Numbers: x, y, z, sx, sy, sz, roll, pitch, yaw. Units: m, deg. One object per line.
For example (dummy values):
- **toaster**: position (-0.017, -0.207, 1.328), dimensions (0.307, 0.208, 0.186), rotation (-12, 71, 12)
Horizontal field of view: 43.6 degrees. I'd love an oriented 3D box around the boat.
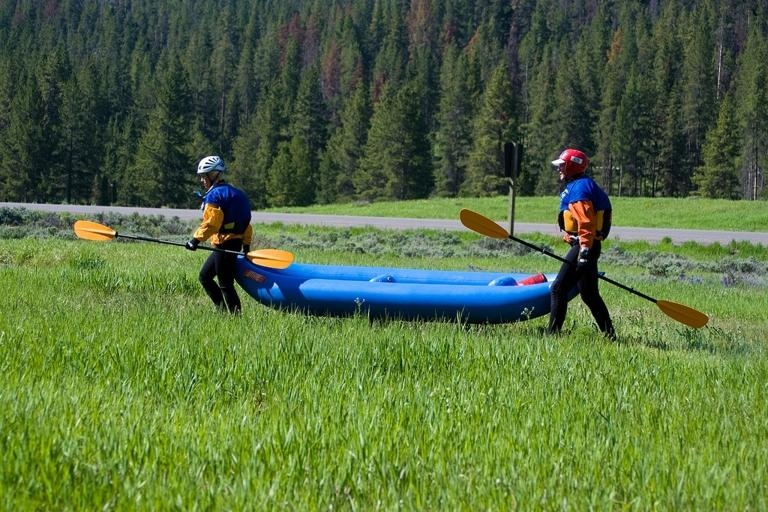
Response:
- **boat**: position (1.302, 0.875, 44.509), dimensions (16.831, 3.886, 5.500), rotation (4, 3, 5)
